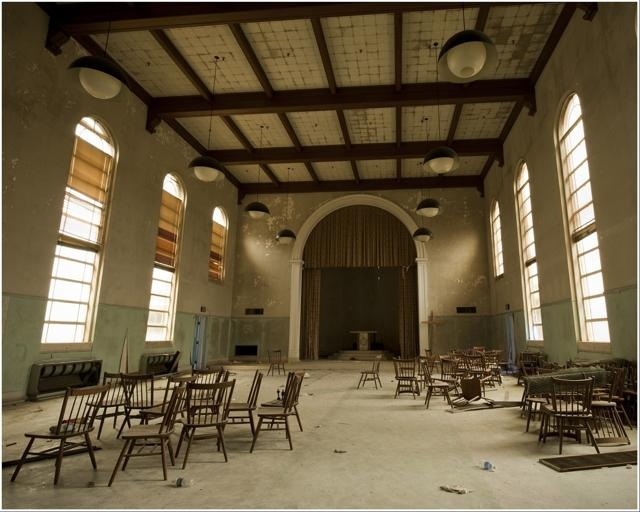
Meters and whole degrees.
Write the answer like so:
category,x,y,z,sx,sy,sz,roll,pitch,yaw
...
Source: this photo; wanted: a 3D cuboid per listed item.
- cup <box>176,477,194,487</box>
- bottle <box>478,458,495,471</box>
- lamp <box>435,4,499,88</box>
category,x,y,z,sx,sy,sz,roll,pitch,yaw
cup,-1.540,2.577,4.895,0.193,0.078,0.152,2,-6,-18
bottle,2.078,2.605,5.350,0.131,0.095,0.108,-5,-14,28
lamp,2.163,-2.967,6.360,0.840,0.583,0.609,-2,-6,20
